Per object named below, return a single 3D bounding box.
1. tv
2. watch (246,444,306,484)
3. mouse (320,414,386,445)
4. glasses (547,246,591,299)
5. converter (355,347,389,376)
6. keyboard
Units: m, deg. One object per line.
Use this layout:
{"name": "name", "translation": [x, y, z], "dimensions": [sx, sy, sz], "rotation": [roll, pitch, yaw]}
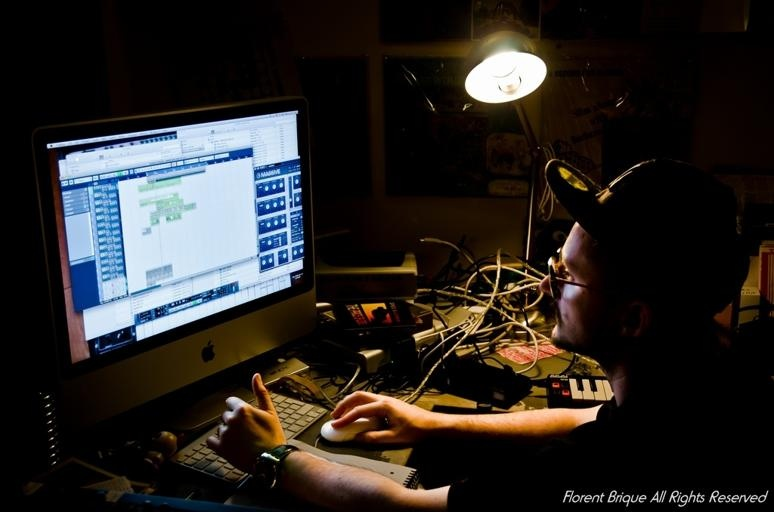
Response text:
{"name": "tv", "translation": [-0.491, 0.030, 1.390], "dimensions": [0.257, 0.663, 0.730], "rotation": [11, 18, 38]}
{"name": "watch", "translation": [-0.239, 0.426, 1.288], "dimensions": [0.055, 0.075, 0.083], "rotation": [19, 37, 29]}
{"name": "mouse", "translation": [-0.086, 0.390, 1.401], "dimensions": [0.107, 0.027, 0.060], "rotation": [-1, 4, -30]}
{"name": "glasses", "translation": [0.377, 0.037, 1.324], "dimensions": [0.098, 0.039, 0.089], "rotation": [17, 11, 10]}
{"name": "converter", "translation": [-0.038, 0.278, 1.613], "dimensions": [0.083, 0.059, 0.039], "rotation": [3, 3, -42]}
{"name": "keyboard", "translation": [-0.347, 0.411, 1.327], "dimensions": [0.142, 0.018, 0.248], "rotation": [16, 29, 26]}
